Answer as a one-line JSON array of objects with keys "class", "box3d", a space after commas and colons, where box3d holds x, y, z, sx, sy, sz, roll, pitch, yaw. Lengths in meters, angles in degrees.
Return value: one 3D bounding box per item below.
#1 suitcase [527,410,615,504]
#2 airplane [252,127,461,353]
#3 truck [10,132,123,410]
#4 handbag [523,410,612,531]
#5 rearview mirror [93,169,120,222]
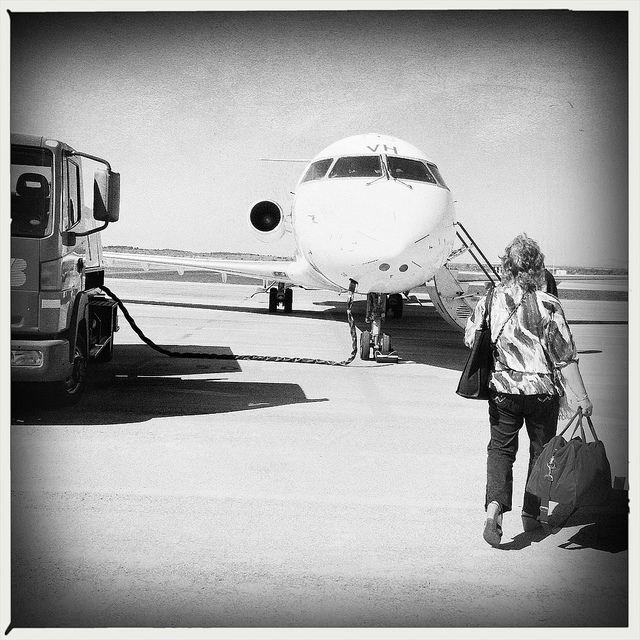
[{"class": "suitcase", "box3d": [1.472, 0.770, 4.121, 0.425, 0.579, 0.398, 11, -7, -37]}, {"class": "airplane", "box3d": [0.650, -1.031, 9.623, 2.370, 1.549, 2.976, 0, 3, 0]}, {"class": "truck", "box3d": [-2.417, -0.397, 6.737, 0.881, 2.448, 2.075, -1, 6, -22]}, {"class": "handbag", "box3d": [1.442, 0.813, 4.110, 0.440, 0.711, 0.461, 7, -3, 23]}, {"class": "rearview mirror", "box3d": [-1.798, -1.044, 6.005, 0.190, 0.415, 0.153, -1, 6, -18]}]
